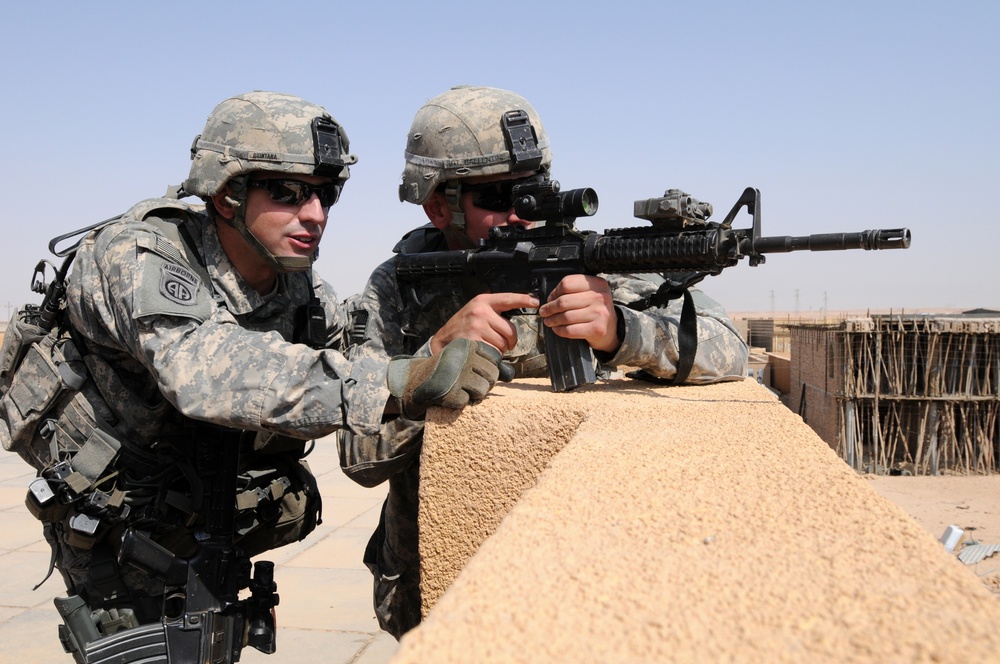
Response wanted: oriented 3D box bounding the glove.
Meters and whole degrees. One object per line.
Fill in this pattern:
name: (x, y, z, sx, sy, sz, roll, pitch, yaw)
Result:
glove: (-0.268, 0.219, 3.693, 0.304, 0.195, 0.494, -20, 6, -43)
